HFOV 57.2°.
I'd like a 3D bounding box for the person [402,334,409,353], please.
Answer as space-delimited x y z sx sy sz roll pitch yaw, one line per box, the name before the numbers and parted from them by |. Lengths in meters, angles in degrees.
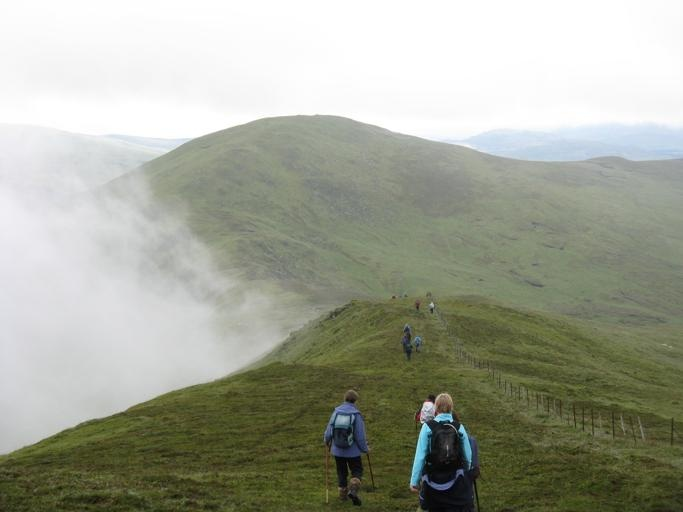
person | 6.089 8.099 58.193 0.589 1.564 0.929 -1 5 9
